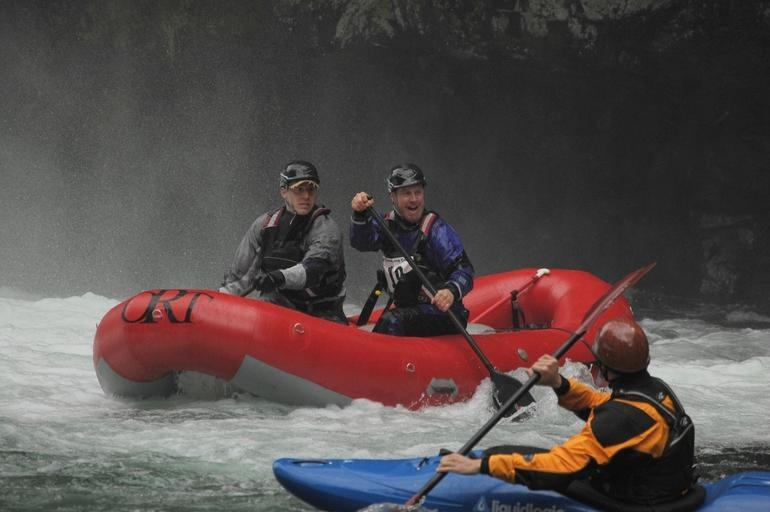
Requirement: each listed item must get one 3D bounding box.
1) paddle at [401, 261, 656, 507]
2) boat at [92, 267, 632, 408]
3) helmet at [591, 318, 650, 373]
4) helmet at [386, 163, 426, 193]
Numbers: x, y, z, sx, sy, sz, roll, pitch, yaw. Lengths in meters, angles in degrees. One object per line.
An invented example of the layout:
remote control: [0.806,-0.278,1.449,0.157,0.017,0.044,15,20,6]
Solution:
paddle: [1.212,1.201,9.361,0.190,2.747,0.302,48,-10,-7]
boat: [-0.241,0.909,10.111,4.188,0.900,2.094,1,-3,-25]
helmet: [1.881,0.676,8.459,0.378,0.344,0.455,0,35,-7]
helmet: [0.212,-0.765,10.272,0.345,0.294,0.332,7,4,9]
